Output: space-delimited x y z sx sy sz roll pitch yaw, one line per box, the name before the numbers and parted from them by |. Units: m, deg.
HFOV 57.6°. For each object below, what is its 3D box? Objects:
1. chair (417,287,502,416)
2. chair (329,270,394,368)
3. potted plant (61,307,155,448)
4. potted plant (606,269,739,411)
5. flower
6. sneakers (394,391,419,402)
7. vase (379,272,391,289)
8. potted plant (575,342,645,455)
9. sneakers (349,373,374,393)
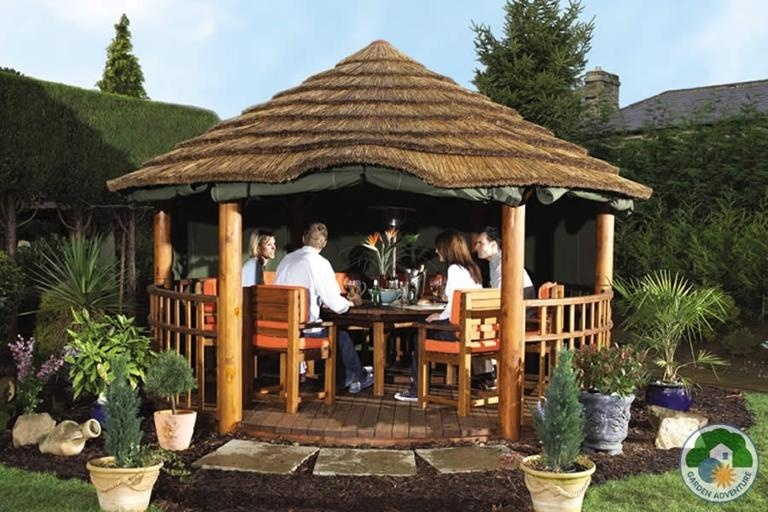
chair | 1.234 1.593 11.619 1.337 2.086 0.909 0 -3 3
chair | -0.568 1.256 12.753 1.068 1.756 1.126 1 -4 -29
potted plant | -4.964 2.045 12.320 1.960 2.557 1.929 0 -5 -21
potted plant | 5.295 1.612 12.712 2.073 2.619 1.876 1 4 29
flower | 0.072 0.041 15.199 1.496 1.163 1.659 -2 -9 -32
sneakers | 0.376 2.440 12.194 0.407 0.189 0.157 5 -4 3
vase | -0.009 0.485 13.711 0.177 0.330 0.314 0 2 1
potted plant | 3.602 2.305 11.349 1.421 1.974 1.458 -2 -11 22
sneakers | -0.414 2.294 12.680 0.196 0.265 0.590 0 9 34
